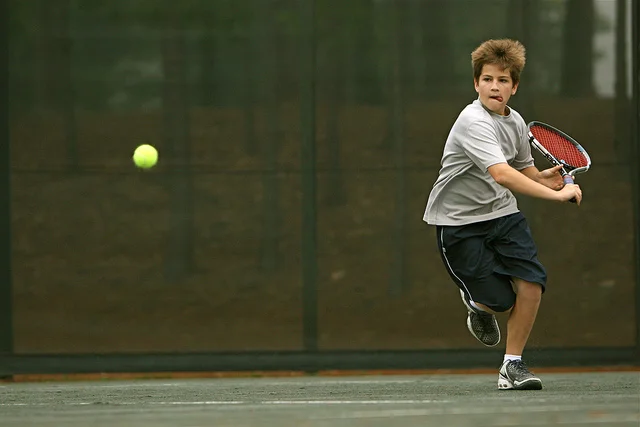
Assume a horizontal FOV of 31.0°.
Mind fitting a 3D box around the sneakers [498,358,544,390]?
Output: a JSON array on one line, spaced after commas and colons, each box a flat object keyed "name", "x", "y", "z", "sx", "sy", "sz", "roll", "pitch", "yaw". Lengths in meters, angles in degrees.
[{"name": "sneakers", "x": 1.355, "y": 1.090, "z": 7.881, "sx": 0.154, "sy": 0.157, "sz": 0.311, "roll": 3, "pitch": -6, "yaw": -35}]

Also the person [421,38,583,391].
[{"name": "person", "x": 1.187, "y": 0.009, "z": 7.834, "sx": 0.949, "sy": 2.369, "sz": 0.568, "roll": -3, "pitch": 4, "yaw": 8}]

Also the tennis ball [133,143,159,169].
[{"name": "tennis ball", "x": -1.305, "y": -0.419, "z": 8.780, "sx": 0.174, "sy": 0.166, "sz": 0.171, "roll": 16, "pitch": -23, "yaw": 7}]
